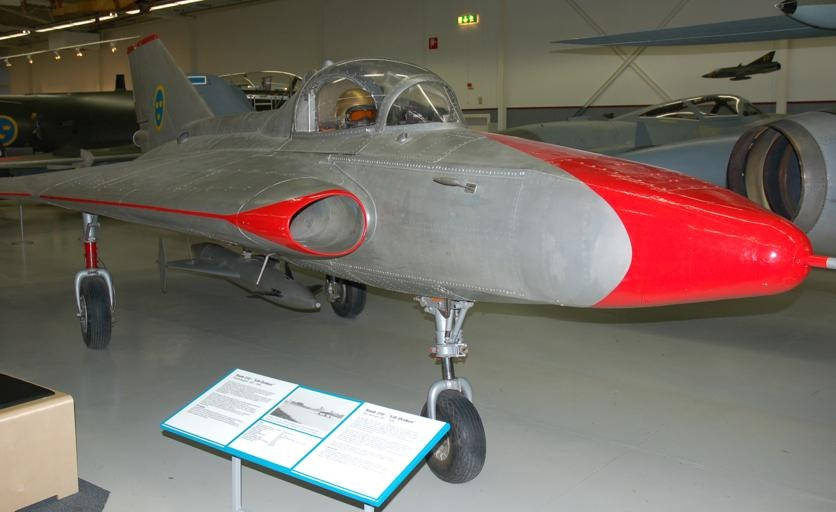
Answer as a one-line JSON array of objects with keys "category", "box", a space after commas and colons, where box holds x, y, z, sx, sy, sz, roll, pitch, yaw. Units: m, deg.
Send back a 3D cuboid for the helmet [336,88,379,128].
[{"category": "helmet", "box": [-0.632, -1.458, 5.649, 0.350, 0.379, 0.444, -17, 28, -37]}]
